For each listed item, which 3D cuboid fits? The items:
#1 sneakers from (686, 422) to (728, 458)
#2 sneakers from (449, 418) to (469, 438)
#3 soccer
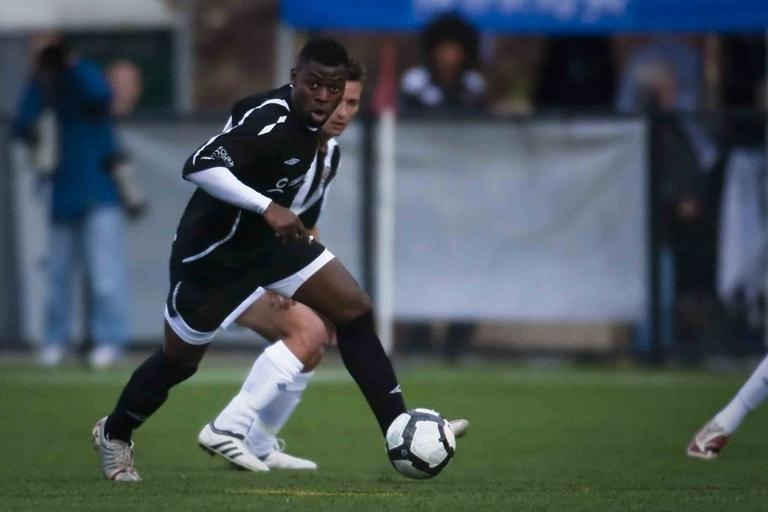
[{"bbox_3d":[2.261,1.306,9.192,0.185,0.317,0.134,39,-6,16],"label":"sneakers"},{"bbox_3d":[0.501,1.151,8.827,0.112,0.122,0.155,-1,3,-3],"label":"sneakers"},{"bbox_3d":[0.274,1.219,8.737,0.447,0.462,0.445,-18,-19,23],"label":"soccer"}]
